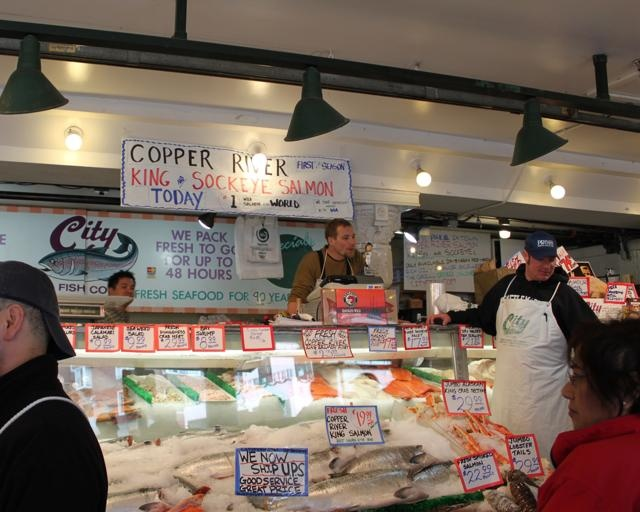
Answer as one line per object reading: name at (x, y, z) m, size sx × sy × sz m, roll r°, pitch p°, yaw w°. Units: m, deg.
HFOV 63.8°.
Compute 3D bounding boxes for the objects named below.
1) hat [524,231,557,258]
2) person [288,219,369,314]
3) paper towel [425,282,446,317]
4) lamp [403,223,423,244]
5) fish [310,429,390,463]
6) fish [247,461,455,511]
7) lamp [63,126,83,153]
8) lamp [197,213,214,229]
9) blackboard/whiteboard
hat at (1.358, -0.064, 3.144) m, size 0.164 × 0.093 × 0.198 m, roll 0°, pitch 5°, yaw -1°
person at (0.097, 0.038, 4.144) m, size 0.826 × 0.646 × 0.365 m, roll 0°, pitch -3°, yaw -45°
paper towel at (0.906, 0.334, 3.819) m, size 0.218 × 0.281 × 0.193 m, roll -3°, pitch -4°, yaw 16°
lamp at (1.454, -0.371, 8.065) m, size 0.403 × 0.301 × 0.260 m, roll -3°, pitch -3°, yaw -19°
fish at (0.148, 0.857, 2.335) m, size 0.498 × 0.093 × 0.073 m, roll -9°, pitch 36°, yaw -11°
fish at (0.170, 0.999, 2.191) m, size 0.933 × 0.131 × 0.077 m, roll -1°, pitch -2°, yaw -17°
lamp at (-2.260, -1.072, 4.682) m, size 0.236 × 0.189 × 0.191 m, roll 4°, pitch -25°, yaw -18°
lamp at (-1.336, -0.413, 5.983) m, size 0.175 × 0.113 × 0.192 m, roll -36°, pitch 11°, yaw 6°
blackboard/whiteboard at (2.129, 0.062, 8.565) m, size 1.870 × 1.020 × 0.028 m, roll 1°, pitch -2°, yaw -34°
